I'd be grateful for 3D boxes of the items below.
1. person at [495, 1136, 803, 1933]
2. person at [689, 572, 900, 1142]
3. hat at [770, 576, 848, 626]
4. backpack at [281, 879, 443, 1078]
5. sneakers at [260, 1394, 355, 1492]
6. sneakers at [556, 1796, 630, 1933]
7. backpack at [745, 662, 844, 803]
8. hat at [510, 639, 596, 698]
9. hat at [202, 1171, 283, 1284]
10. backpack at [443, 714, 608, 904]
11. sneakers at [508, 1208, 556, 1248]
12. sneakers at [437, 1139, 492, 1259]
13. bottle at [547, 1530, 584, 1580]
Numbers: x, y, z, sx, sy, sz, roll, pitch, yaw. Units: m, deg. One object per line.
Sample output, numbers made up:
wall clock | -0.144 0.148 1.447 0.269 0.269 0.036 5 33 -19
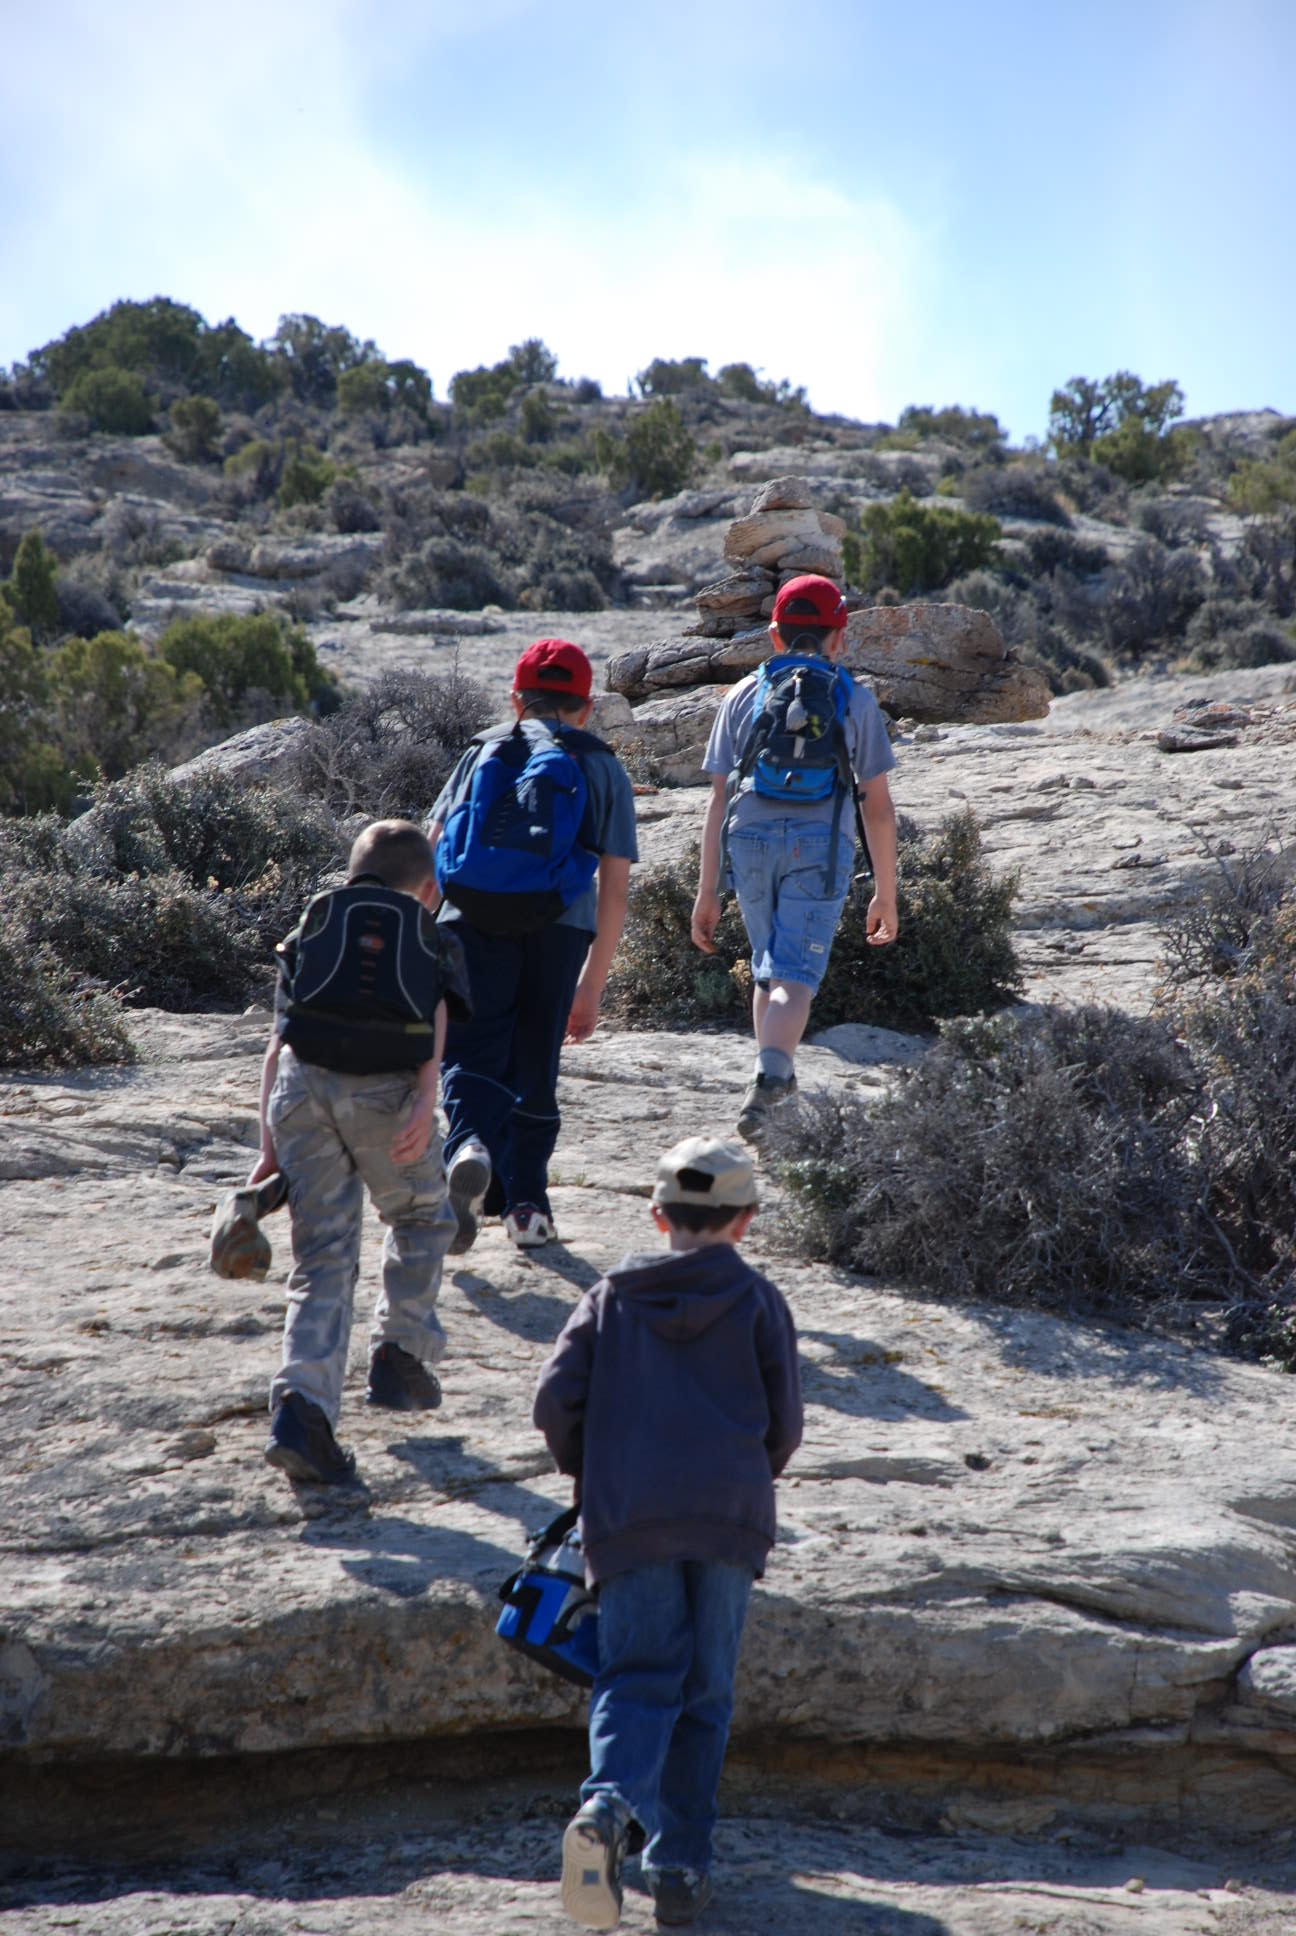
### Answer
person | -0.007 0.882 3.642 0.424 1.144 0.798 7 11 6
person | 0.427 -0.324 6.365 0.532 1.411 0.873 4 12 -5
hat | 0.458 -0.993 6.503 0.201 0.169 0.335 7 7 10
backpack | -0.528 0.033 4.363 0.295 0.348 0.187 3 -17 -7
sneakers | -0.610 0.857 4.325 0.183 0.205 0.146 2 12 -17
sneakers | -0.079 1.271 3.368 0.089 0.170 0.107 5 11 -1
backpack | 0.398 -0.615 6.280 0.311 0.401 0.239 3 -10 9
hat | -0.210 -0.694 5.659 0.173 0.145 0.288 5 4 0
hat | -0.744 0.491 4.364 0.124 0.207 0.183 5 11 -2
backpack | -0.280 -0.354 5.510 0.354 0.488 0.275 2 -17 11
sneakers | -0.288 0.633 5.771 0.064 0.070 0.131 1 7 4
sneakers | -0.390 0.489 5.029 0.079 0.246 0.102 3 -8 -4
bottle | -0.130 0.921 3.720 0.053 0.051 0.013 -2 -35 42
